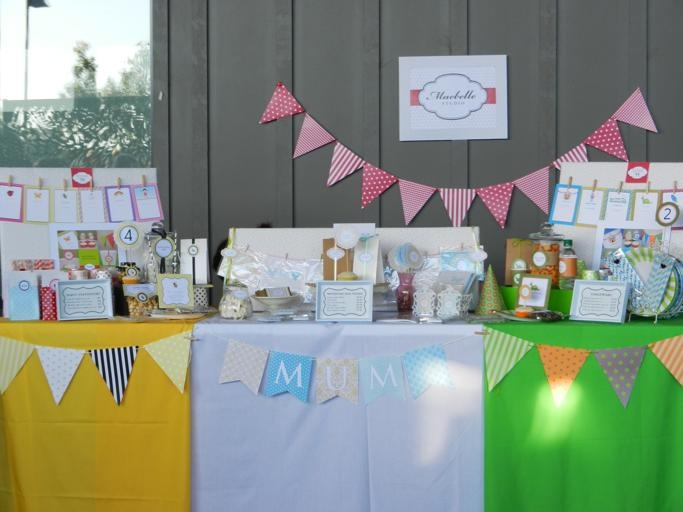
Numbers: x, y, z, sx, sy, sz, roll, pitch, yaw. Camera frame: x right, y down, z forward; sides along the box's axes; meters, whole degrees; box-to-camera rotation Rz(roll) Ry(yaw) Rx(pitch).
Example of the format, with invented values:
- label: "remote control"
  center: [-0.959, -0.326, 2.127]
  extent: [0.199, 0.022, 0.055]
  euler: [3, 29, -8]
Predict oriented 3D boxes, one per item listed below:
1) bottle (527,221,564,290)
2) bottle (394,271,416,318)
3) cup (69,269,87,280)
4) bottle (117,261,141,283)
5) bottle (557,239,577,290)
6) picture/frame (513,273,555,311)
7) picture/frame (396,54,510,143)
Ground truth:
- label: "bottle"
  center: [1.008, 0.010, 3.385]
  extent: [0.151, 0.326, 0.152]
  euler: [2, 0, 0]
- label: "bottle"
  center: [0.310, 0.174, 3.346]
  extent: [0.084, 0.193, 0.158]
  euler: [2, 3, 5]
- label: "cup"
  center: [-1.267, 0.089, 3.319]
  extent: [0.085, 0.043, 0.075]
  euler: [1, 3, -19]
- label: "bottle"
  center: [-1.036, 0.079, 3.352]
  extent: [0.085, 0.144, 0.100]
  euler: [-1, -3, -31]
- label: "bottle"
  center: [1.129, 0.036, 3.409]
  extent: [0.090, 0.231, 0.239]
  euler: [2, 3, 20]
- label: "picture/frame"
  center: [0.891, 0.162, 3.198]
  extent: [0.152, 0.194, 0.016]
  euler: [2, 29, 6]
- label: "picture/frame"
  center: [0.649, -0.881, 3.846]
  extent: [0.424, 0.363, 0.020]
  euler: [-1, -1, 1]
